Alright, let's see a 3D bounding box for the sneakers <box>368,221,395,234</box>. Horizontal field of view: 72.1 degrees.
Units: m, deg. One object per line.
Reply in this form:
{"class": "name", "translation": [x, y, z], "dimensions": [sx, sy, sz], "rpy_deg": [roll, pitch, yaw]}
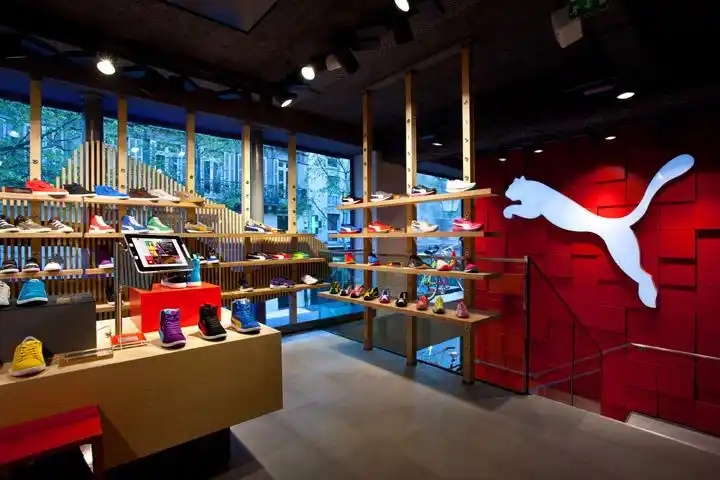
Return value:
{"class": "sneakers", "translation": [0.249, -0.160, 6.497], "dimensions": [0.400, 0.141, 0.132], "rpy_deg": [-2, -4, 27]}

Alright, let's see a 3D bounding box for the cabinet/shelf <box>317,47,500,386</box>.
{"class": "cabinet/shelf", "translation": [0.593, -0.321, 6.570], "dimensions": [1.794, 3.917, 2.554], "rpy_deg": [-4, 4, -11]}

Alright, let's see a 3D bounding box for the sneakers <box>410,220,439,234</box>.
{"class": "sneakers", "translation": [0.775, -0.169, 6.093], "dimensions": [0.360, 0.126, 0.132], "rpy_deg": [-5, -8, 43]}

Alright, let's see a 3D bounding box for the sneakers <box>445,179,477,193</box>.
{"class": "sneakers", "translation": [1.140, -0.625, 5.705], "dimensions": [0.371, 0.140, 0.135], "rpy_deg": [0, 0, 19]}

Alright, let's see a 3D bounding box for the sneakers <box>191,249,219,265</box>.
{"class": "sneakers", "translation": [-1.953, 0.213, 6.185], "dimensions": [0.581, 0.222, 0.195], "rpy_deg": [-3, -6, 42]}

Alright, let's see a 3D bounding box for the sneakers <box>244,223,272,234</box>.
{"class": "sneakers", "translation": [-1.450, -0.171, 6.962], "dimensions": [0.398, 0.137, 0.132], "rpy_deg": [0, -3, -24]}

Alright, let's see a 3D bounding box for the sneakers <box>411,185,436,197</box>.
{"class": "sneakers", "translation": [0.746, -0.592, 5.955], "dimensions": [0.307, 0.117, 0.112], "rpy_deg": [-2, -4, 33]}

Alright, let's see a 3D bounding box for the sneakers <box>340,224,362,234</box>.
{"class": "sneakers", "translation": [-0.170, -0.152, 6.850], "dimensions": [0.345, 0.120, 0.120], "rpy_deg": [-1, -4, 12]}

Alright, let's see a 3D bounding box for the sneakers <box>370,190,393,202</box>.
{"class": "sneakers", "translation": [0.278, -0.576, 6.488], "dimensions": [0.331, 0.122, 0.118], "rpy_deg": [-4, -5, 33]}

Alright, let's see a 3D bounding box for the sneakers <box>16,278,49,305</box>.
{"class": "sneakers", "translation": [-2.780, 0.436, 4.178], "dimensions": [0.223, 0.179, 0.320], "rpy_deg": [-5, 5, -33]}

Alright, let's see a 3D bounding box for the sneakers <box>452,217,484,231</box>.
{"class": "sneakers", "translation": [1.238, -0.184, 5.663], "dimensions": [0.380, 0.148, 0.133], "rpy_deg": [-2, -1, 18]}

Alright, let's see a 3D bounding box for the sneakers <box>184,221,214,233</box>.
{"class": "sneakers", "translation": [-2.073, -0.160, 6.372], "dimensions": [0.341, 0.125, 0.135], "rpy_deg": [2, -2, -15]}

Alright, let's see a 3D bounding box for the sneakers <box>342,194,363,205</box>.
{"class": "sneakers", "translation": [-0.122, -0.552, 6.767], "dimensions": [0.319, 0.120, 0.117], "rpy_deg": [-2, -3, 8]}

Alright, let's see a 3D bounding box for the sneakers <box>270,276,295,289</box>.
{"class": "sneakers", "translation": [-1.149, 0.626, 7.191], "dimensions": [0.321, 0.118, 0.138], "rpy_deg": [-1, -5, -2]}

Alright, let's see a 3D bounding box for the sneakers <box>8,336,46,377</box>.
{"class": "sneakers", "translation": [-2.664, 0.927, 3.961], "dimensions": [0.254, 0.289, 0.194], "rpy_deg": [-4, 5, -17]}
